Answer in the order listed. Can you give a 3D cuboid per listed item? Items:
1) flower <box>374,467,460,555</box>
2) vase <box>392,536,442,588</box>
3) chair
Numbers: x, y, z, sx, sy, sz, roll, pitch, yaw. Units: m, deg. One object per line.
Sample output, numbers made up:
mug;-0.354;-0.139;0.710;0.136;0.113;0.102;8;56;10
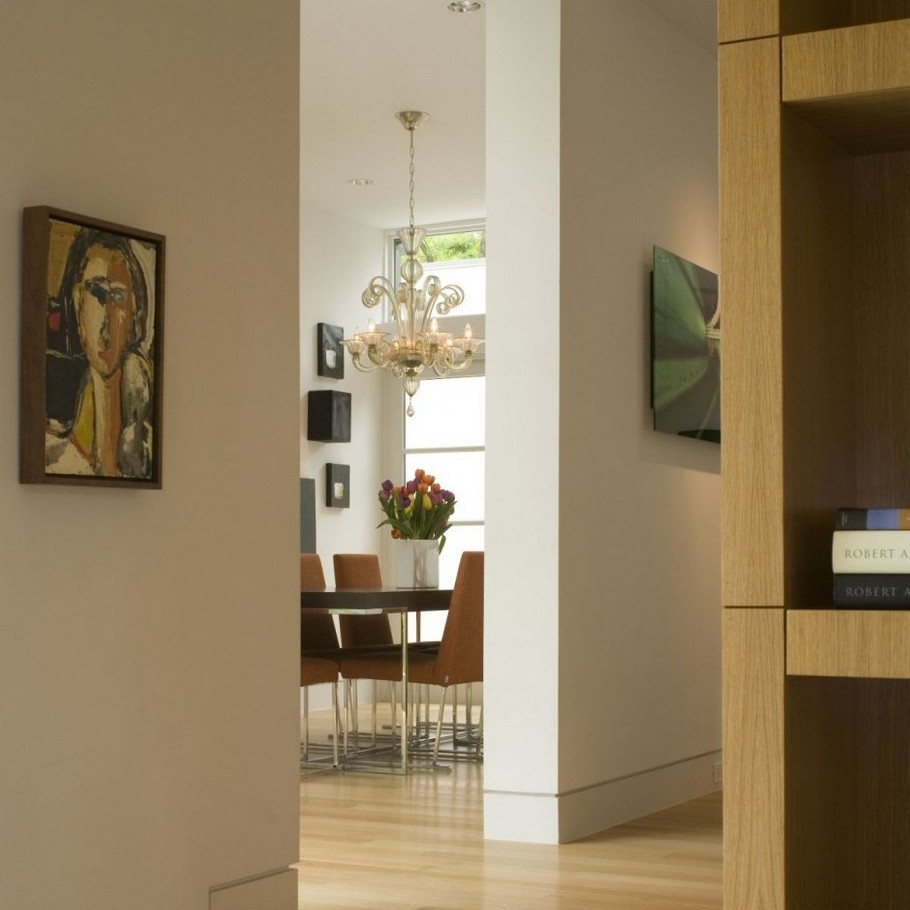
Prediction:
flower;-0.218;0.318;6.601;0.350;0.508;0.390;1;-3;-9
vase;-0.196;0.563;6.365;0.199;0.261;0.213;1;-1;-31
chair;-0.242;0.984;5.712;0.742;1.012;0.589;0;-4;2
